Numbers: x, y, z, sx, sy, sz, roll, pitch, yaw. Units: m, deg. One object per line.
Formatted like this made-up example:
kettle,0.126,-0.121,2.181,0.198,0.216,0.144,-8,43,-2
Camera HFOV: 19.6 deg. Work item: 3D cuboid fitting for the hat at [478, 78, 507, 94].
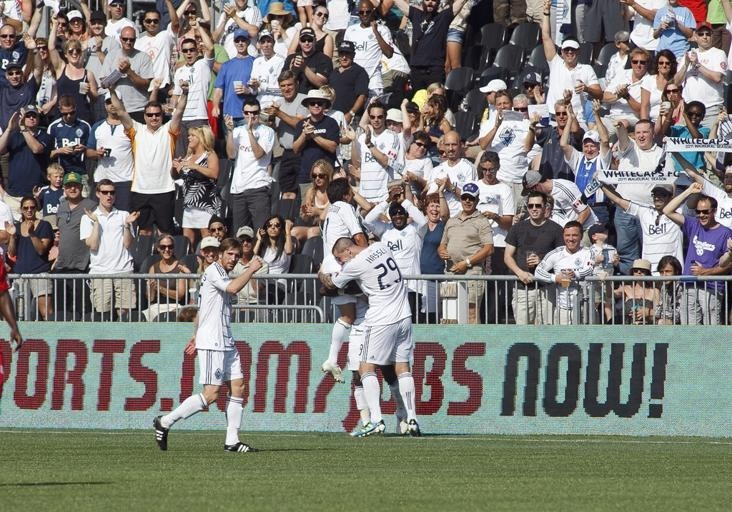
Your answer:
hat,2.227,-3.020,36.885,0.391,0.163,0.271,-4,10,2

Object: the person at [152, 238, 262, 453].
person,-2.232,1.238,30.617,1.441,3.089,1.021,-2,2,-5

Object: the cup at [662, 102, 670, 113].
cup,4.993,-2.567,35.346,0.138,0.156,0.190,-1,1,-1

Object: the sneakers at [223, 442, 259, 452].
sneakers,-1.825,2.678,30.352,0.468,0.195,0.178,0,2,-3

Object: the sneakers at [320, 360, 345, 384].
sneakers,-0.521,1.679,32.093,0.277,0.382,0.157,-43,1,12

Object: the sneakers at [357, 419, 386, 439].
sneakers,0.000,2.551,31.730,0.518,0.248,0.196,-8,-1,14

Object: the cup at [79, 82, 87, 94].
cup,-5.067,-3.086,37.766,0.189,0.193,0.172,1,-4,0

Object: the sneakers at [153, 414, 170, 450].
sneakers,-2.959,2.506,30.479,0.253,0.580,0.180,-5,8,11

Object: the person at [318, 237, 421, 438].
person,0.141,1.155,31.685,1.160,3.004,0.368,-2,2,-1

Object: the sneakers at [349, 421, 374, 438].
sneakers,-0.058,2.562,31.769,0.477,0.244,0.181,-6,-4,19

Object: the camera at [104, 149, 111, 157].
camera,-4.481,-1.852,36.457,0.087,0.137,0.046,-8,18,-18

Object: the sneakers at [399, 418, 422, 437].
sneakers,0.656,2.520,31.919,0.215,0.142,0.323,4,-21,-2
